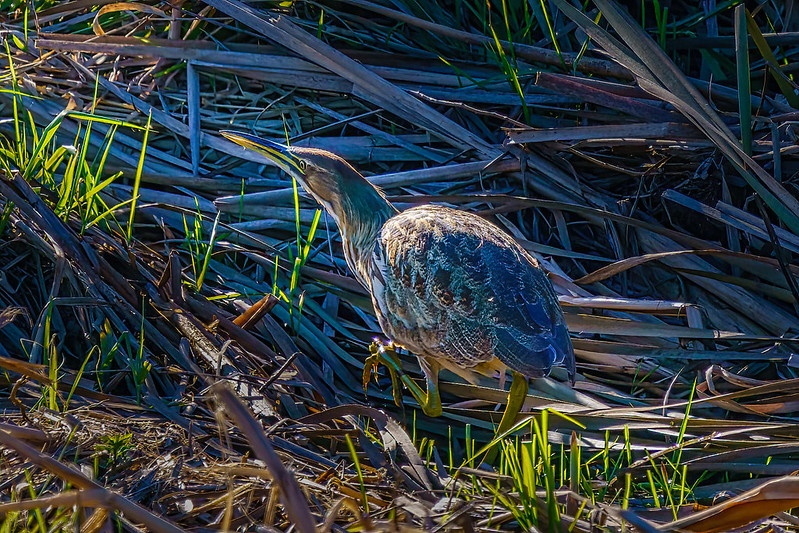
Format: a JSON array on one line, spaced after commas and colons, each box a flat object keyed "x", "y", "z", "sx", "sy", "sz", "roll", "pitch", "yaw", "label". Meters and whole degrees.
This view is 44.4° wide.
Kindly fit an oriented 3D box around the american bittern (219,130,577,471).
[{"x": -0.018, "y": 0.019, "z": 3.022, "sx": 1.143, "sy": 0.577, "sz": 0.393, "roll": 24, "pitch": 37, "yaw": 15, "label": "american bittern"}]
